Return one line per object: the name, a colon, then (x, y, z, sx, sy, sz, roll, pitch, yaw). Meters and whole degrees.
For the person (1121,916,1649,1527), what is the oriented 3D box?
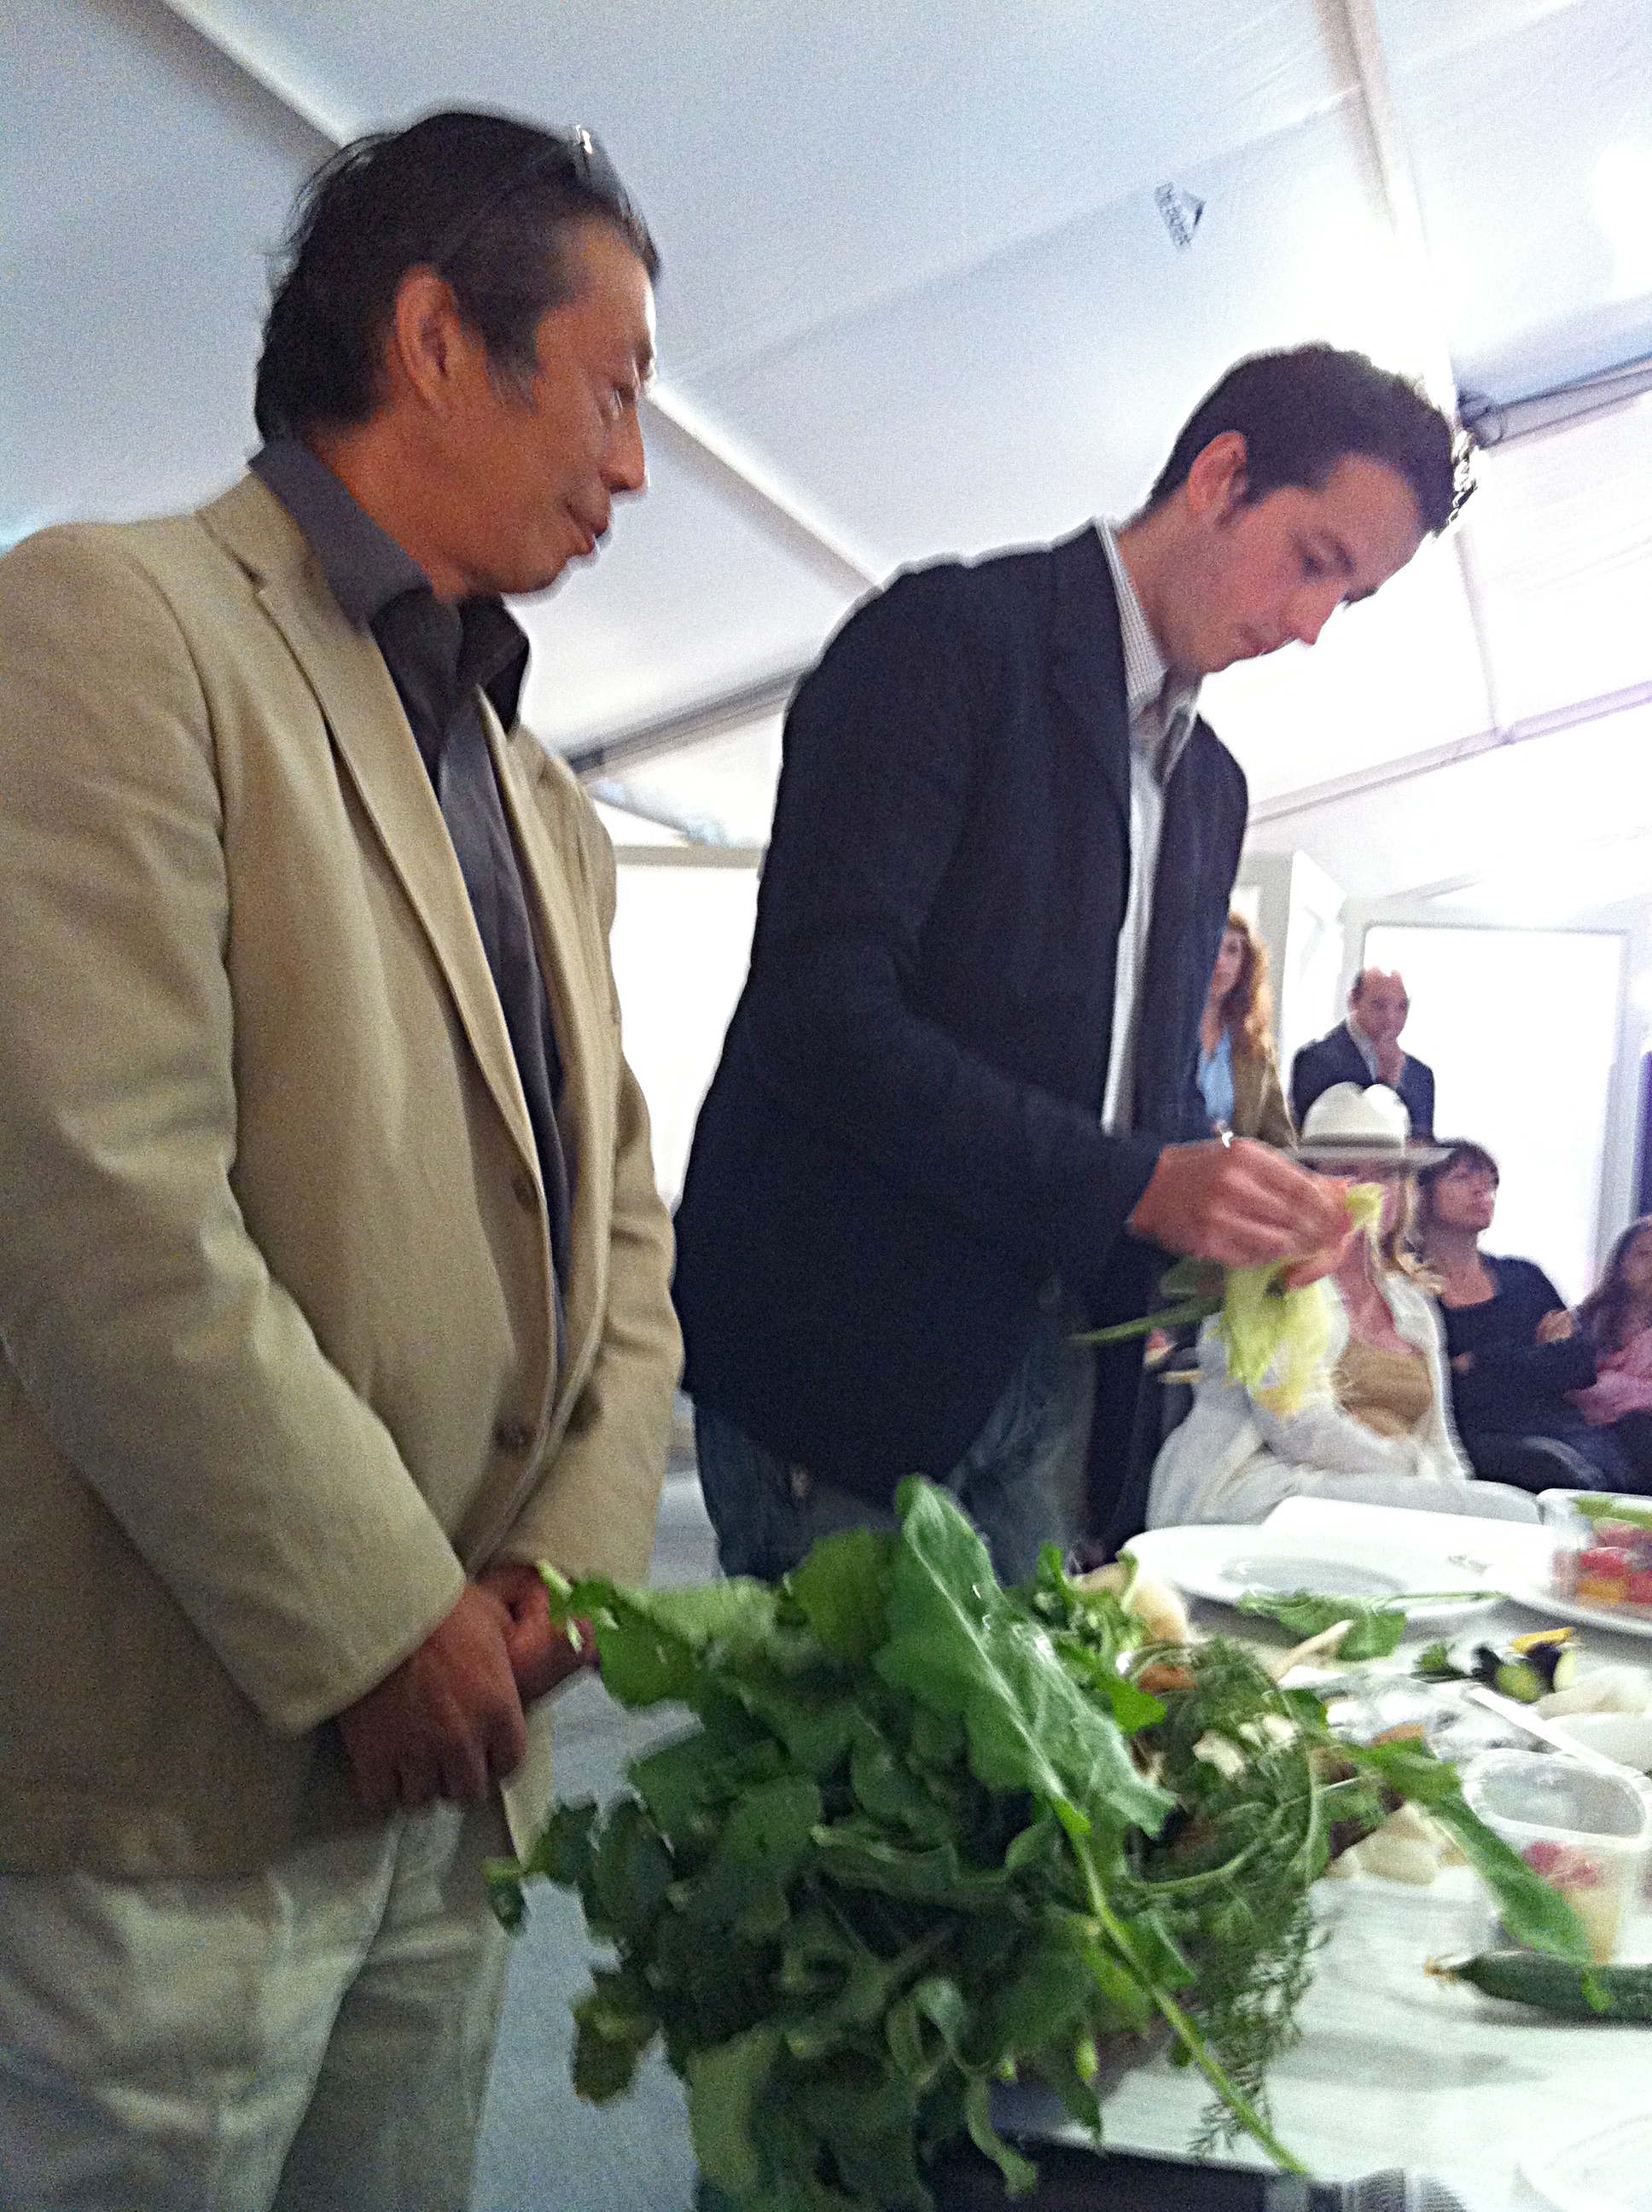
person: (0.555, 0.173, 1.906, 0.411, 0.779, 0.522, 1, -2, -34)
